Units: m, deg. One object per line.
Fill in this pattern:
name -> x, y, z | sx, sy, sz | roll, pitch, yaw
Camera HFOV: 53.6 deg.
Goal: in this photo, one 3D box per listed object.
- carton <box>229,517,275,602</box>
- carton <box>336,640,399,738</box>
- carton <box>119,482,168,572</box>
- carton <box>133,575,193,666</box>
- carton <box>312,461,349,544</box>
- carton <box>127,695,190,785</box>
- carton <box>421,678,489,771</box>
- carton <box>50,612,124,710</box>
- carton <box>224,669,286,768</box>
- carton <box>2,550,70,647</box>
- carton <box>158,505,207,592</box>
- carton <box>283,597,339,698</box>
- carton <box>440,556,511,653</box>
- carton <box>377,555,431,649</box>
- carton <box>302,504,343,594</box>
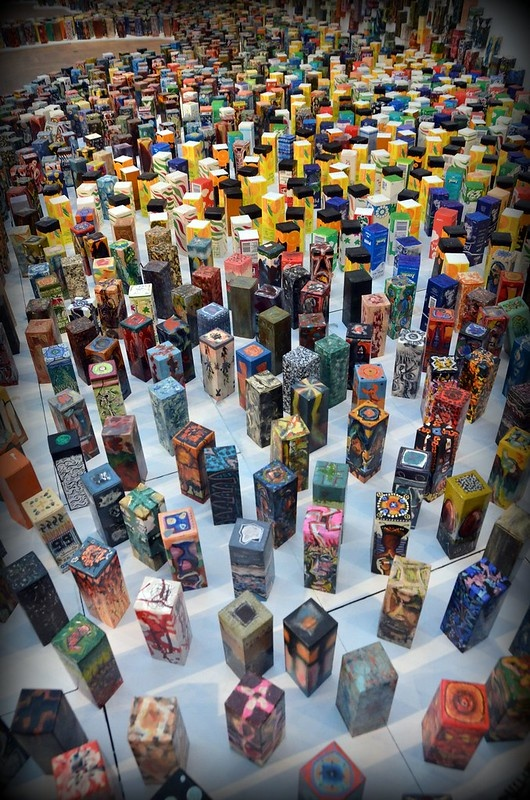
carton -> -0.057, 0.680, 2.204 | 0.174, 0.383, 0.251 | -1, 30, 3
carton -> 0.341, 0.981, 1.758 | 0.168, 0.363, 0.185 | -9, 30, -11
carton -> -0.540, 0.584, 2.315 | 0.155, 0.450, 0.160 | 36, 60, 26
carton -> -0.370, 0.851, 1.973 | 0.134, 0.313, 0.110 | 3, 30, 15
carton -> 0.277, 0.477, 2.406 | 0.186, 0.256, 0.185 | -4, 18, -21
carton -> -0.332, 1.072, 1.653 | 0.127, 0.253, 0.127 | 3, 20, 0
carton -> 0.585, 1.041, 1.662 | 0.167, 0.246, 0.168 | 24, 38, 34
carton -> -0.615, 0.954, 1.875 | 0.159, 0.368, 0.162 | 18, 35, 31
carton -> -0.030, 1.033, 1.677 | 0.182, 0.244, 0.182 | -8, 30, -13
carton -> -0.882, 0.819, 2.076 | 0.153, 0.419, 0.163 | -22, 35, -31
carton -> -0.340, 0.670, 2.219 | 0.166, 0.413, 0.181 | -8, 30, -11
carton -> 0.180, 0.896, 1.891 | 0.214, 0.389, 0.180 | -20, 34, -28
carton -> 0.810, 0.801, 2.022 | 0.213, 0.366, 0.174 | -13, 32, -19
carton -> 0.528, 0.796, 2.040 | 0.150, 0.369, 0.203 | 11, 32, 21
carton -> 0.231, 0.675, 2.192 | 0.141, 0.258, 0.156 | 3, -11, -5
